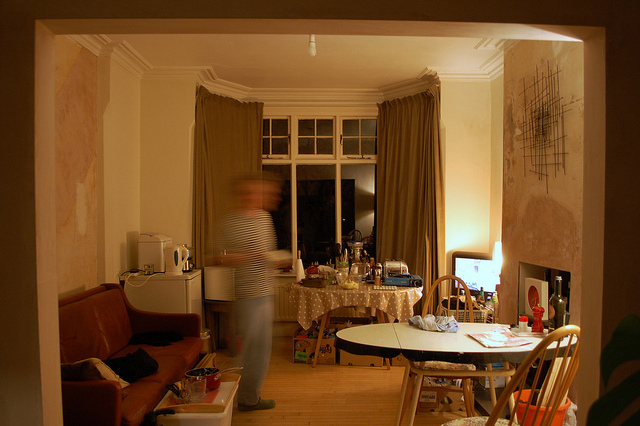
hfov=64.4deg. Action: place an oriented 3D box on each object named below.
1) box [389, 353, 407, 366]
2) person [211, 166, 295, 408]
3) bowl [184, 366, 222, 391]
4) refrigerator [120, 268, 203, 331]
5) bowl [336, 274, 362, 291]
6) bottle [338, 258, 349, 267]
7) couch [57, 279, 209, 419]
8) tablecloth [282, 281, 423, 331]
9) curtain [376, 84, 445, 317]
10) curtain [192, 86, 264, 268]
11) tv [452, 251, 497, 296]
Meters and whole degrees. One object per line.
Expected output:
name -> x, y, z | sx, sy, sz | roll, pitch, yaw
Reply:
box -> 0.842, 1.619, 5.578 | 0.168, 0.147, 0.233 | -1, 6, 5
person -> -0.526, 0.614, 4.067 | 0.528, 1.865, 0.646 | -1, 6, -3
bowl -> -0.870, 1.273, 3.971 | 0.190, 0.090, 0.195 | 0, -4, 0
refrigerator -> -1.724, 0.866, 5.738 | 0.840, 0.858, 0.603 | 0, -3, -1
bowl -> 0.334, 0.781, 5.671 | 0.180, 0.101, 0.160 | 1, -2, -41
bottle -> 0.270, 0.592, 6.023 | 0.134, 0.083, 0.191 | -4, 7, -26
couch -> -1.619, 1.200, 4.209 | 0.895, 0.796, 1.565 | 0, 4, -5
tablecloth -> 0.367, 1.037, 5.718 | 1.472, 0.484, 0.605 | -1, 6, 3
curtain -> 1.089, -0.160, 6.313 | 0.453, 2.756, 1.107 | -5, 8, -31
curtain -> -1.146, -0.457, 6.296 | 0.379, 2.139, 1.106 | 2, 7, 27
tv -> 1.811, 0.673, 5.820 | 0.545, 0.534, 0.297 | 4, 17, 30
